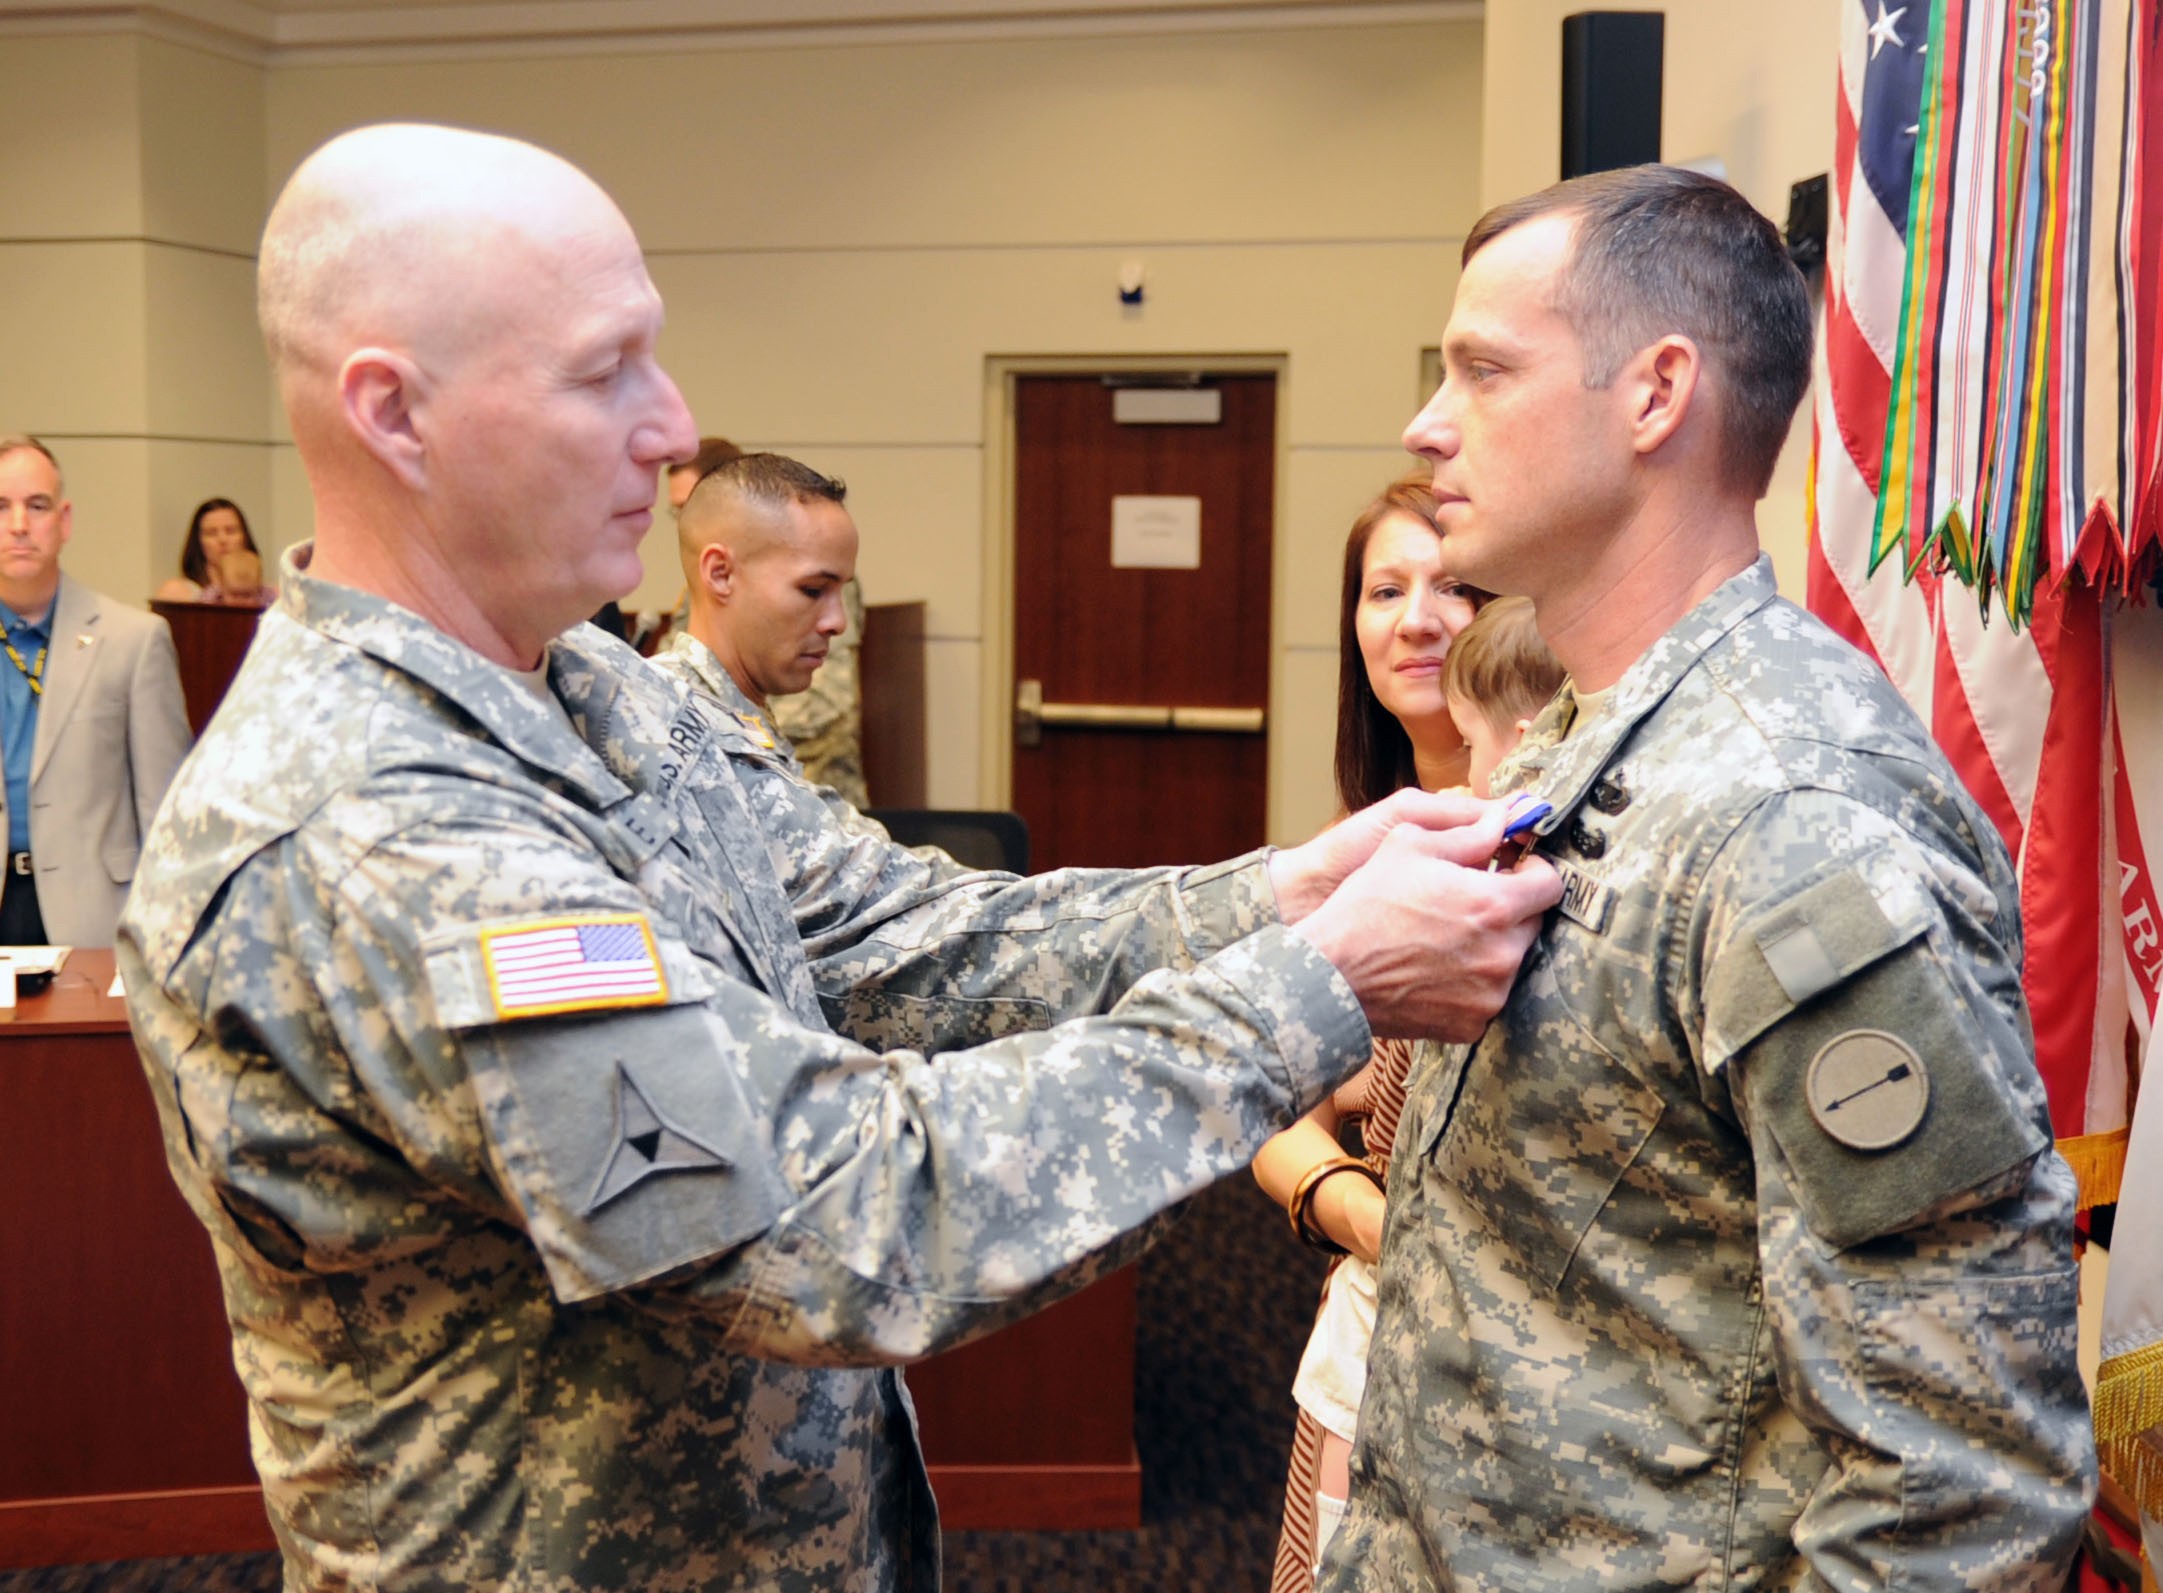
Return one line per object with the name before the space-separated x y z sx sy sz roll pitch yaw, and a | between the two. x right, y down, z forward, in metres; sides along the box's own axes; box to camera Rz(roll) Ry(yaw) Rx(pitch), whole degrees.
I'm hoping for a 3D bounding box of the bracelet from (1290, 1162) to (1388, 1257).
bracelet | 0.291 0.465 2.369 0.071 0.062 0.104 -17 37 -13
